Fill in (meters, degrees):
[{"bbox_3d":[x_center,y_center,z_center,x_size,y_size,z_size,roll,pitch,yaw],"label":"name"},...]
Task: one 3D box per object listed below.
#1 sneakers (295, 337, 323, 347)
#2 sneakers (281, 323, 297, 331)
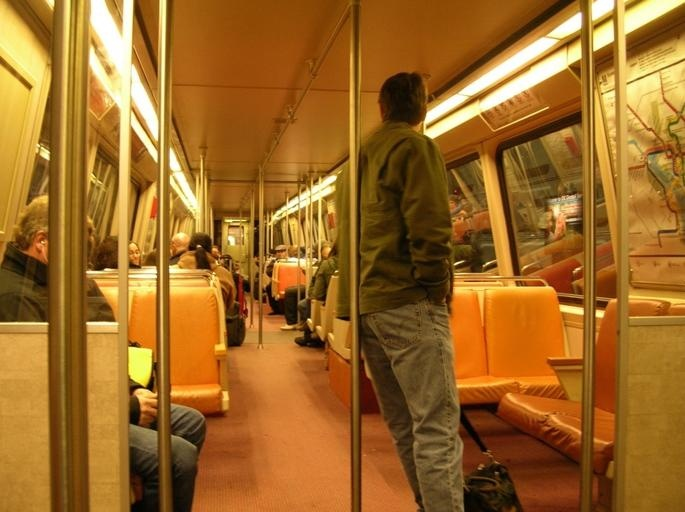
[{"bbox_3d":[-0.556,1.404,8.708,0.459,0.224,0.160,6,-4,-15],"label":"sneakers"},{"bbox_3d":[-1.040,1.395,10.498,0.323,0.150,0.119,3,-12,-2],"label":"sneakers"}]
